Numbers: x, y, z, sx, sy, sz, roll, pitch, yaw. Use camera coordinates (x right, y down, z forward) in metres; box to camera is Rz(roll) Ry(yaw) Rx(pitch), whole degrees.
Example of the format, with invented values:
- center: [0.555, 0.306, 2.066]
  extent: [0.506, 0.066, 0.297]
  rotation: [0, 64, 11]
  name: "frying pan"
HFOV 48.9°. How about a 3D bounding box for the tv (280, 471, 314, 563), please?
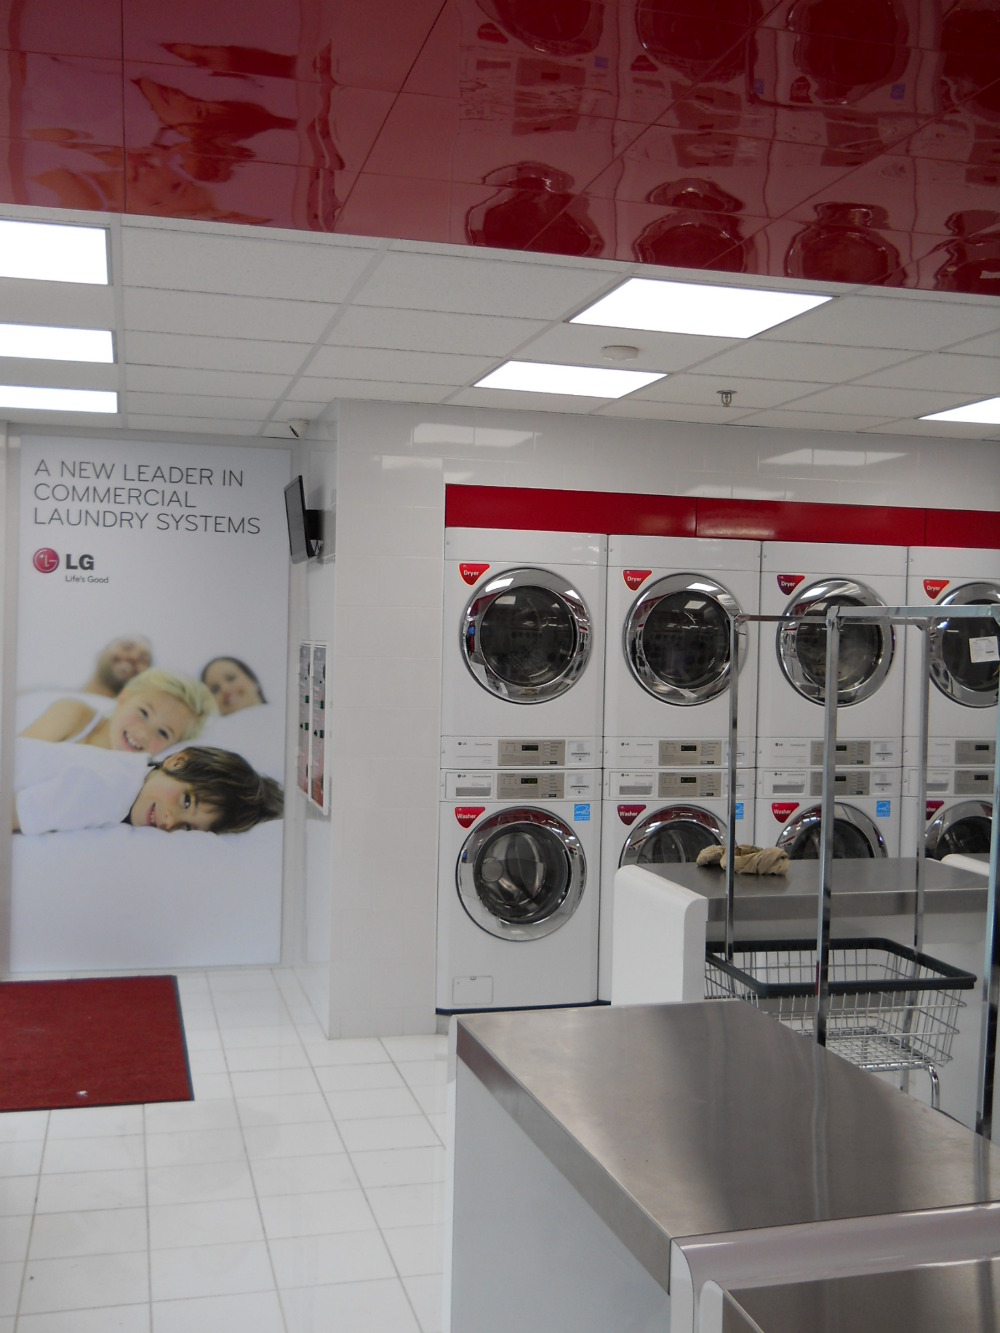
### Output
- center: [-1.056, -0.798, 5.770]
  extent: [0.105, 0.353, 0.584]
  rotation: [-3, 2, -14]
  name: "tv"
